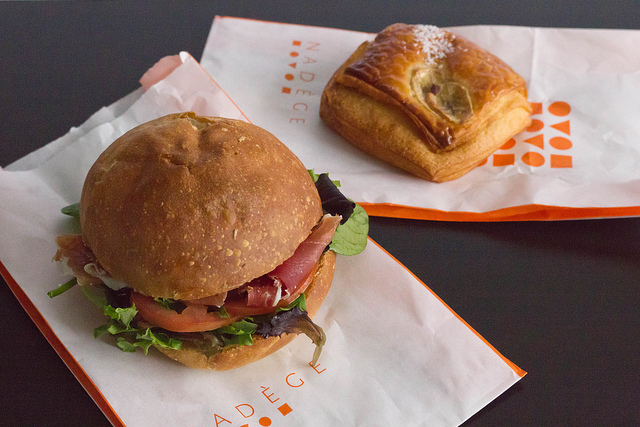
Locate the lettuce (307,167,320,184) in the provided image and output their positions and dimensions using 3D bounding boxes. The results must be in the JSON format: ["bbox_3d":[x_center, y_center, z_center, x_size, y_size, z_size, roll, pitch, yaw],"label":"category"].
[{"bbox_3d":[-0.032,-0.185,3.053,0.054,0.022,0.073,-5,68,-36],"label":"lettuce"}]

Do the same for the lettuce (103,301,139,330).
[{"bbox_3d":[-0.860,0.411,2.665,0.129,0.044,0.127,0,22,7],"label":"lettuce"}]

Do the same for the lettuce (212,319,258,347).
[{"bbox_3d":[-0.351,0.504,2.659,0.126,0.050,0.127,13,22,30],"label":"lettuce"}]

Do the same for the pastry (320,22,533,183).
[{"bbox_3d":[0.612,-0.696,3.559,1.107,0.373,1.062,31,53,24],"label":"pastry"}]
